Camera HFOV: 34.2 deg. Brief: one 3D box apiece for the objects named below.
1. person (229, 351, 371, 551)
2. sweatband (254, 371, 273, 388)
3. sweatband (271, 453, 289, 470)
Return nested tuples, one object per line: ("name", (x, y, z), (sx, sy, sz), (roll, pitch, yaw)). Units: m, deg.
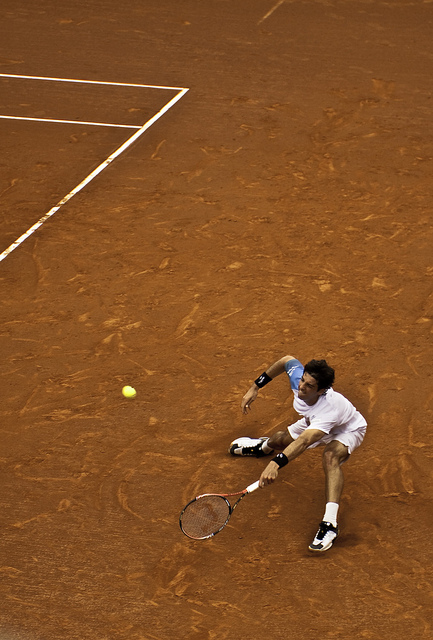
("person", (0.659, 0.813, 4.905), (1.127, 0.978, 1.319), (-4, 22, -17))
("sweatband", (0.346, 0.466, 5.460), (0.137, 0.050, 0.097), (-36, 38, 14))
("sweatband", (0.407, 0.915, 4.572), (0.082, 0.047, 0.105), (-13, 22, 39))
